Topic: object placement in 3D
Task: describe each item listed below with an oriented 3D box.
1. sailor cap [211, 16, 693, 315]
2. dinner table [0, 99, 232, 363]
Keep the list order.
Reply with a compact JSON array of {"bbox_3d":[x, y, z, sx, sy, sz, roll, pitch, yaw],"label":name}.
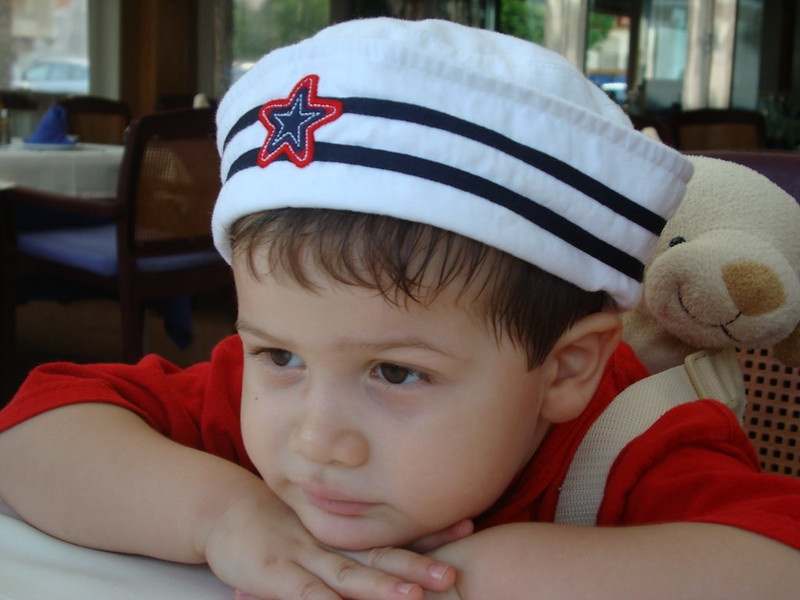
[{"bbox_3d":[0.087,-0.194,1.184,0.434,0.329,0.383,6,-11,-12],"label":"sailor cap"},{"bbox_3d":[-0.905,-0.369,3.222,0.670,1.174,0.724,16,21,36],"label":"dinner table"}]
